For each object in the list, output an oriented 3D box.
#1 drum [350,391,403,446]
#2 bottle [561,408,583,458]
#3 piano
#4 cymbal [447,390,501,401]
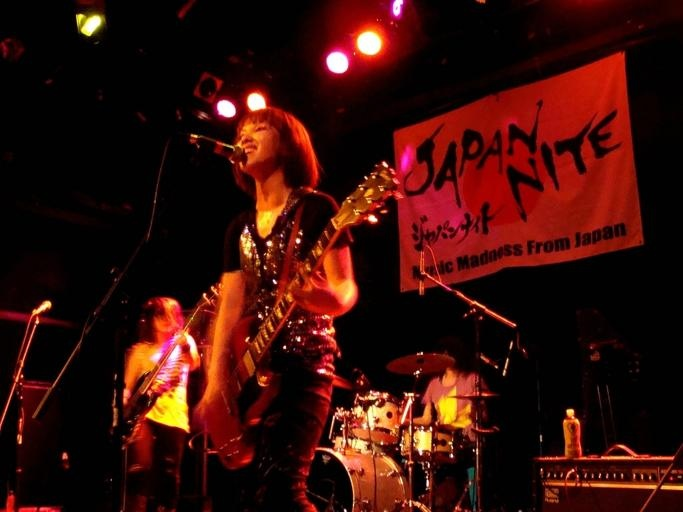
[{"bbox_3d":[0.366,1.760,7.682,0.523,0.351,0.556,4,-41,4],"label":"drum"},{"bbox_3d":[1.997,1.536,6.106,0.135,0.461,0.290,-1,-29,17],"label":"bottle"},{"bbox_3d":[2.014,1.685,5.514,1.105,0.299,0.086,-19,-38,39],"label":"piano"},{"bbox_3d":[1.446,1.502,7.600,0.337,0.049,0.354,-7,-6,26],"label":"cymbal"}]
